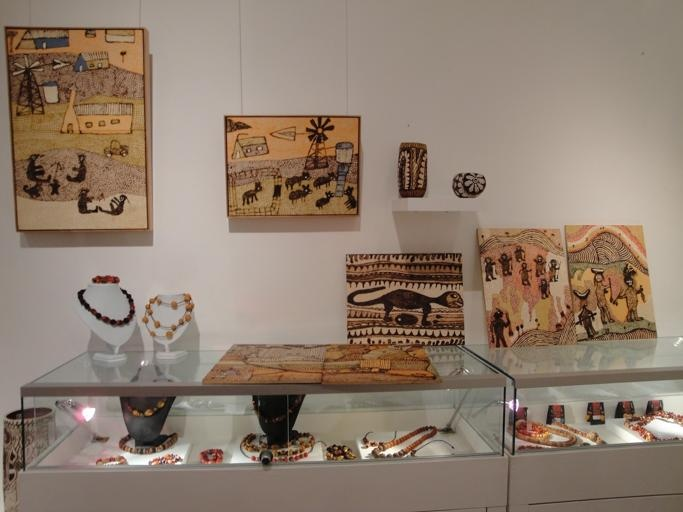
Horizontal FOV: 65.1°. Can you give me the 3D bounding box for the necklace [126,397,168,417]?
[{"bbox_3d":[-0.950,0.730,2.593,0.122,0.064,0.123,0,-5,-12],"label":"necklace"}]
